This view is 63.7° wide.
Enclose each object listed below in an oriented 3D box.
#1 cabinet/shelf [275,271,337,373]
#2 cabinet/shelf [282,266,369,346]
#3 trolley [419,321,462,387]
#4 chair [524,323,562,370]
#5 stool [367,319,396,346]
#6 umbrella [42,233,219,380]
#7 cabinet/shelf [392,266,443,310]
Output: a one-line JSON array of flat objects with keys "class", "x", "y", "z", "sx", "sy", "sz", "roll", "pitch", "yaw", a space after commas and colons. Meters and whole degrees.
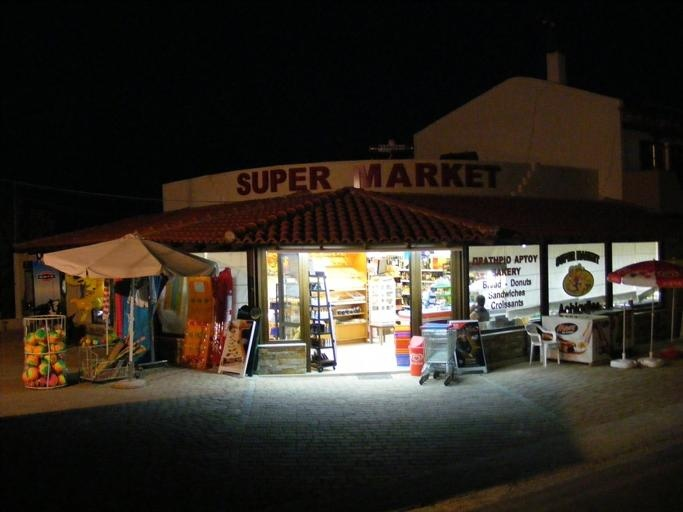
[{"class": "cabinet/shelf", "x": -0.603, "y": 1.639, "z": 13.743, "sx": 0.958, "sy": 2.110, "sz": 1.003, "roll": -1, "pitch": -1, "yaw": -11}, {"class": "cabinet/shelf", "x": 0.115, "y": 1.500, "z": 16.410, "sx": 1.243, "sy": 2.227, "sz": 0.677, "roll": -2, "pitch": 1, "yaw": -12}, {"class": "trolley", "x": 2.282, "y": 2.173, "z": 12.972, "sx": 1.096, "sy": 1.405, "sz": 1.094, "roll": 0, "pitch": 1, "yaw": 13}, {"class": "chair", "x": 5.044, "y": 2.203, "z": 13.877, "sx": 0.665, "sy": 0.944, "sz": 0.655, "roll": 0, "pitch": -4, "yaw": -33}, {"class": "stool", "x": 1.179, "y": 2.232, "z": 16.358, "sx": 0.738, "sy": 0.707, "sz": 0.586, "roll": -1, "pitch": -1, "yaw": -19}, {"class": "umbrella", "x": -4.607, "y": 0.008, "z": 11.982, "sx": 3.166, "sy": 0.940, "sz": 1.255, "roll": 1, "pitch": 7, "yaw": 6}, {"class": "cabinet/shelf", "x": 2.359, "y": 0.975, "z": 14.769, "sx": 0.795, "sy": 1.226, "sz": 1.069, "roll": -2, "pitch": 6, "yaw": -41}]
